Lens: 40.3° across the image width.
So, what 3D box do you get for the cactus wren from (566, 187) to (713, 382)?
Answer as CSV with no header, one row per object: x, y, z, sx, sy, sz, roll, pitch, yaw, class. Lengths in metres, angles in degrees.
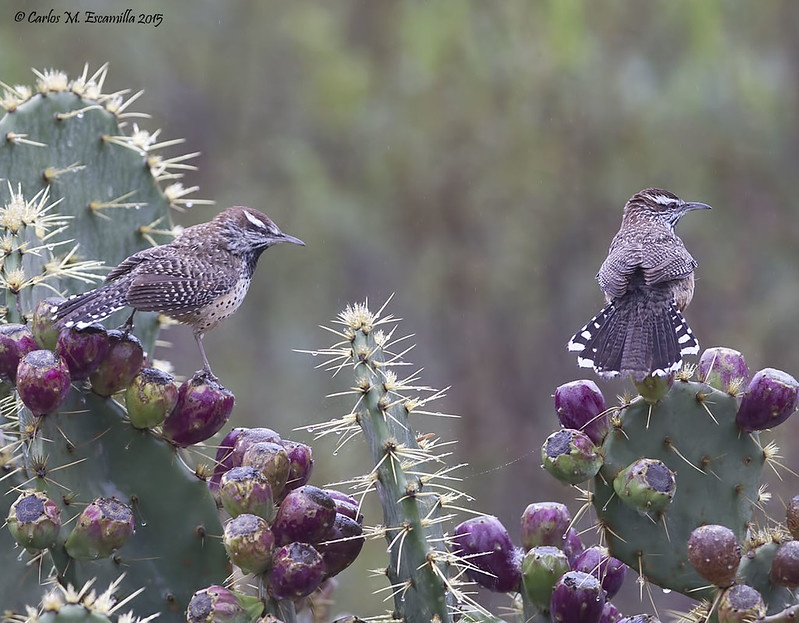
0.543,-0.066,2.434,0.295,0.406,0.598,-1,8,22,cactus wren

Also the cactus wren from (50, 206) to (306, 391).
-0.490,-0.061,2.285,0.454,0.396,0.214,9,1,-30,cactus wren
